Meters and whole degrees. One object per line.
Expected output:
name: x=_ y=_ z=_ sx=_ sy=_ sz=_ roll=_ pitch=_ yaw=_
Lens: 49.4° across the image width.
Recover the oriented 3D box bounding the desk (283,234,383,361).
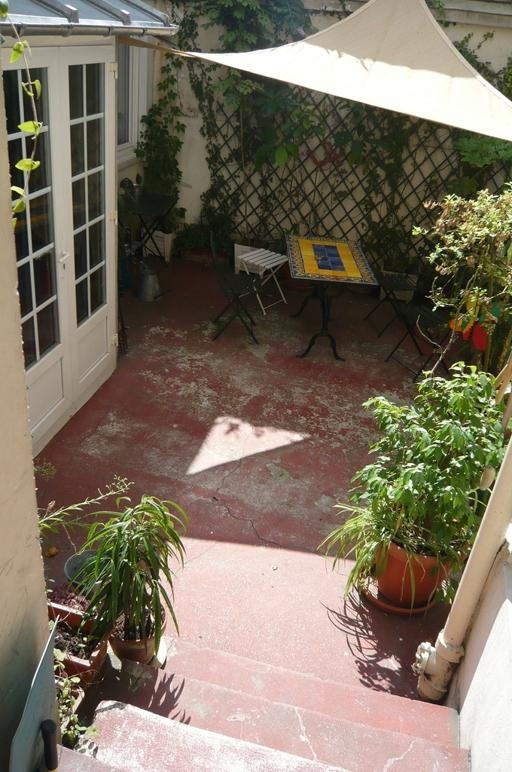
desk: x=0.785 y=-0.886 z=5.850 sx=0.698 sy=0.689 sz=1.400 roll=6 pitch=34 yaw=-1

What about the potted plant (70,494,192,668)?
potted plant: x=-0.474 y=0.749 z=2.055 sx=0.359 sy=0.548 sz=0.335 roll=3 pitch=-9 yaw=-27

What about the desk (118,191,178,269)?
desk: x=-1.282 y=-1.899 z=6.924 sx=0.571 sy=0.408 sz=0.590 roll=18 pitch=14 yaw=-30

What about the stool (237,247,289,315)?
stool: x=0.114 y=-1.091 z=5.880 sx=0.329 sy=0.473 sz=0.436 roll=-26 pitch=23 yaw=-15

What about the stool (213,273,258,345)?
stool: x=-0.198 y=-0.795 z=5.778 sx=0.489 sy=0.611 sz=0.395 roll=15 pitch=1 yaw=30
